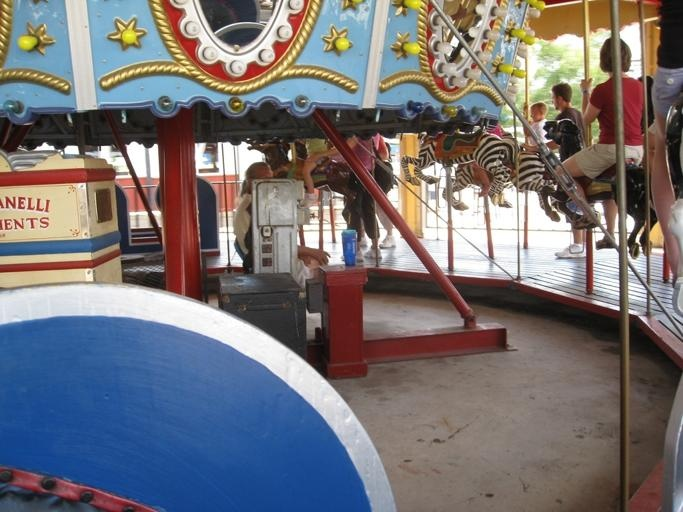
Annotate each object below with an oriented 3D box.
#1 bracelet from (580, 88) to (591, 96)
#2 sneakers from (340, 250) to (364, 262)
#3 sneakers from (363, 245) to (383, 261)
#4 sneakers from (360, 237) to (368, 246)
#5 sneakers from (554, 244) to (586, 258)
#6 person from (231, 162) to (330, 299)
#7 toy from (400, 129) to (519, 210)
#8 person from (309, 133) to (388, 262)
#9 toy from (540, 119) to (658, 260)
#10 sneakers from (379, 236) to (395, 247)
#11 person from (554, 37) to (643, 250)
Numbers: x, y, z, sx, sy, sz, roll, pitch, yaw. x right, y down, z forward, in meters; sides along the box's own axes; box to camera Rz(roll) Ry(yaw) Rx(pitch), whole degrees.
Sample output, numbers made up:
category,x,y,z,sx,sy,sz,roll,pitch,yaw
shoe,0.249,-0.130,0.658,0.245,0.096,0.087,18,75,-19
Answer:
category,x,y,z,sx,sy,sz,roll,pitch,yaw
bracelet,1.987,-1.343,5.062,0.042,0.069,0.064,-6,2,-1
sneakers,0.101,0.007,5.633,0.130,0.114,0.125,-3,1,13
sneakers,0.355,-0.035,7.514,0.281,0.229,0.127,11,13,38
sneakers,0.301,-0.196,8.578,0.102,0.132,0.135,-2,7,3
sneakers,2.503,-0.044,6.854,0.370,0.193,0.147,-2,3,0
person,-0.640,-0.263,5.066,0.779,0.992,1.215,1,9,20
toy,1.301,-1.185,7.215,0.481,1.334,1.601,-7,13,-43
person,0.271,-0.909,7.306,0.677,1.831,0.535,-11,23,-20
toy,2.172,-0.622,5.164,1.052,1.069,0.273,7,8,28
sneakers,0.633,-0.186,8.544,0.182,0.146,0.129,0,2,0
person,2.132,-0.971,5.167,0.483,1.526,0.690,-12,15,-25
